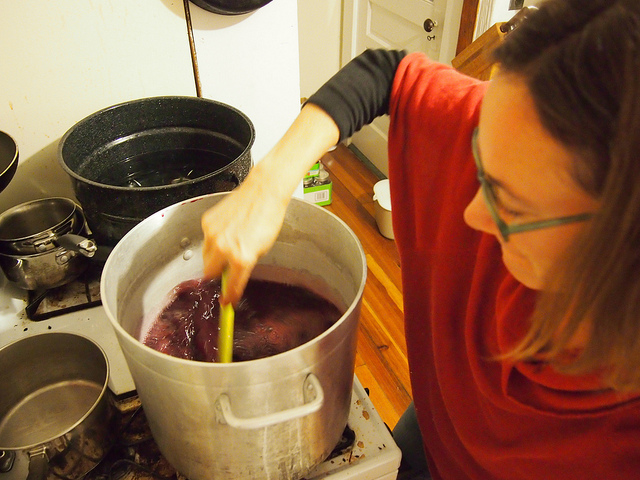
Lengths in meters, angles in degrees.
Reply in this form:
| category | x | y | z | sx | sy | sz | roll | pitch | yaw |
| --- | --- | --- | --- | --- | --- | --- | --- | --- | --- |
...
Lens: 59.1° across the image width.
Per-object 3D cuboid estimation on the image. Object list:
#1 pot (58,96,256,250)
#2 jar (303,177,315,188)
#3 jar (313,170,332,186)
| category | x | y | z | sx | sy | sz | roll | pitch | yaw |
| --- | --- | --- | --- | --- | --- | --- | --- | --- | --- |
| pot | -0.424 | -0.231 | 1.384 | 0.441 | 0.173 | 0.432 | 2 | 49 | -2 |
| jar | -0.063 | -0.325 | 3.180 | 0.059 | 0.055 | 0.044 | -2 | 33 | -5 |
| jar | 0.012 | -0.363 | 3.245 | 0.094 | 0.041 | 0.154 | 6 | 34 | 7 |
